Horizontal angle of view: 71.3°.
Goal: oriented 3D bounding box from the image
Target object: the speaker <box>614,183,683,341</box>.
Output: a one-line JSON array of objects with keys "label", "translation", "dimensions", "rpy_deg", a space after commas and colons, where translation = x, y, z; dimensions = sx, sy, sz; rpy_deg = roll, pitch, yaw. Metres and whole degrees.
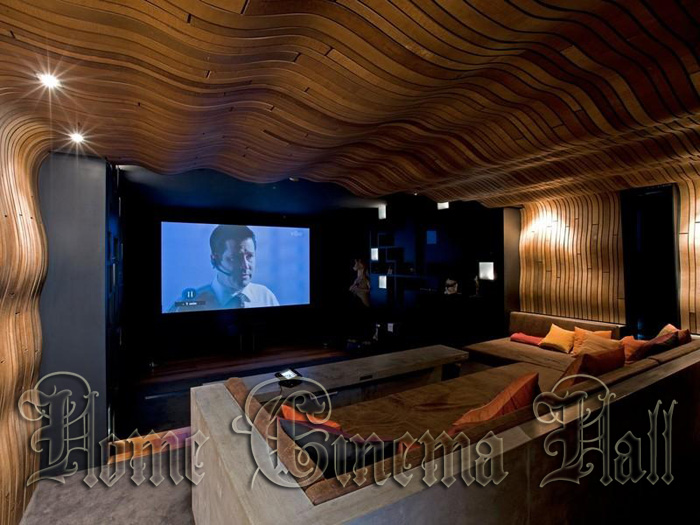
[{"label": "speaker", "translation": [3.587, -0.013, 5.842], "dimensions": [0.552, 1.794, 0.195], "rpy_deg": [-2, 1, 35]}]
